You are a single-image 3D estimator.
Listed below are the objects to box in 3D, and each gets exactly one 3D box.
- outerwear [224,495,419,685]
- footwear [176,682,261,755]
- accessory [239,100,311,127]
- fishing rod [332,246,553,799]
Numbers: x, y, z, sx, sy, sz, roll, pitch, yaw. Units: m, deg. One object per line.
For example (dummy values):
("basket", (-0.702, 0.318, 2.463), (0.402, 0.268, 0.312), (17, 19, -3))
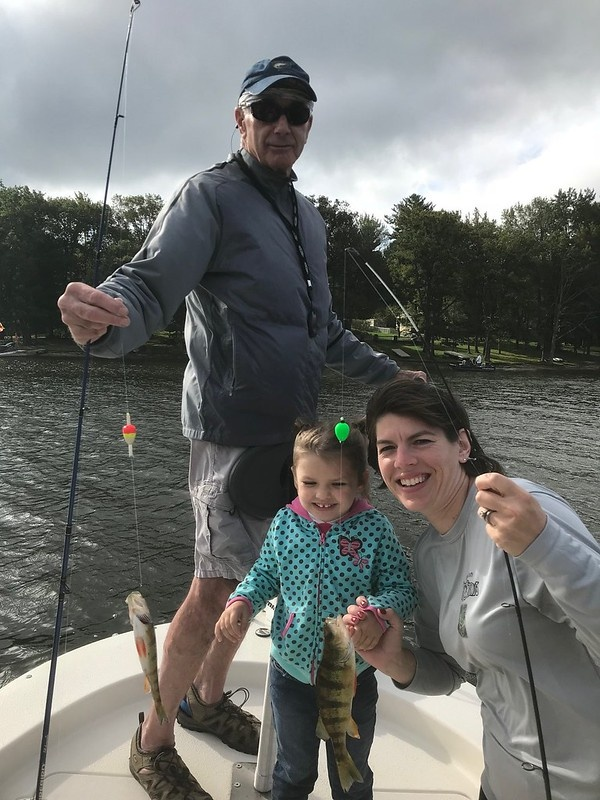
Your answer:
("outerwear", (0.063, 0.561, 1.757), (0.535, 0.522, 0.298), (2, -1, 14))
("footwear", (-0.294, 1.258, 2.388), (0.387, 0.168, 0.140), (10, -11, 18))
("accessory", (-0.068, -0.958, 2.004), (0.208, 0.087, 0.059), (-6, 10, -5))
("fishing rod", (0.400, 0.049, 1.892), (0.335, 1.768, 0.092), (21, -45, -34))
